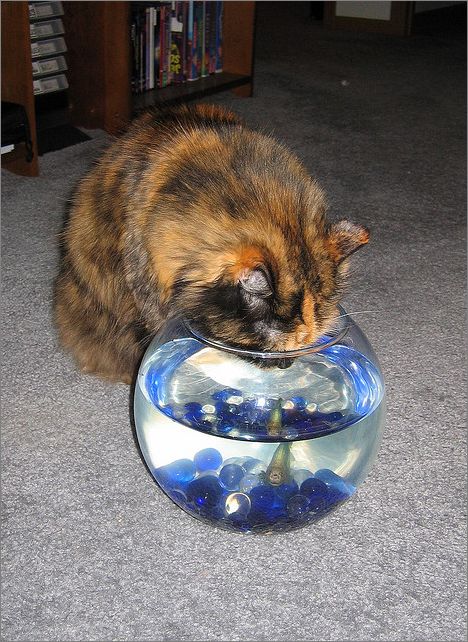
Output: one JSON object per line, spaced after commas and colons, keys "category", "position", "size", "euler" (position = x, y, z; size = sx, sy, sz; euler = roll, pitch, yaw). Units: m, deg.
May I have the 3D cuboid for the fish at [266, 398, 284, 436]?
{"category": "fish", "position": [0.047, 0.109, 0.642], "size": [0.010, 0.016, 0.039], "euler": [-2, 34, 14]}

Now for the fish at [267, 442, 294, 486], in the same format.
{"category": "fish", "position": [0.052, 0.168, 0.667], "size": [0.035, 0.045, 0.029], "euler": [-3, 31, -9]}
